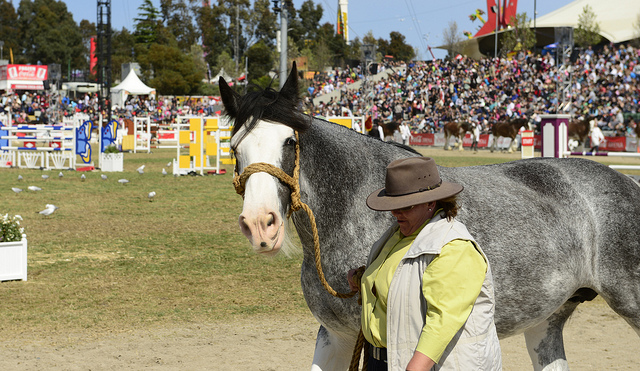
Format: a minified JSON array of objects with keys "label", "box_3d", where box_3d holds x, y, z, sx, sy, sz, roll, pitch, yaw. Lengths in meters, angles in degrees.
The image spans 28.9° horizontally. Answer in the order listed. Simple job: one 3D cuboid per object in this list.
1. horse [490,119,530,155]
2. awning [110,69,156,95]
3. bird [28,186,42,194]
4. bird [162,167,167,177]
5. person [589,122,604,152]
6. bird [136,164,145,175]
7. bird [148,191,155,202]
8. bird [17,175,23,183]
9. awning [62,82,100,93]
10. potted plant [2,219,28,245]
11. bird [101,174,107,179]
[{"label":"horse","box_3d":[17.688,-4.932,116.634,1.391,3.428,5.070,-4,9,-38]},{"label":"awning","box_3d":[-19.951,-11.147,130.752,5.559,2.308,5.703,4,13,1]},{"label":"bird","box_3d":[-23.089,0.095,100.164,0.384,0.775,1.154,-17,9,21]},{"label":"bird","box_3d":[-13.283,-1.294,105.687,0.271,0.505,0.754,-4,14,-24]},{"label":"person","box_3d":[24.747,-4.574,111.007,1.228,2.537,0.718,-7,8,-37]},{"label":"bird","box_3d":[-15.181,-1.382,104.843,0.402,0.944,1.198,17,-24,-7]},{"label":"bird","box_3d":[-13.547,0.745,99.517,0.414,0.716,1.008,-3,6,-6]},{"label":"bird","box_3d":[-24.751,-0.701,102.128,0.402,0.544,0.196,-3,16,-13]},{"label":"awning","box_3d":[-30.059,-12.618,155.685,4.212,1.299,4.663,1,7,23]},{"label":"potted plant","box_3d":[-23.147,3.451,93.052,1.841,1.827,0.968,5,-9,-19]},{"label":"bird","box_3d":[-17.967,-0.889,102.721,0.330,0.425,0.162,3,-6,-40]}]
